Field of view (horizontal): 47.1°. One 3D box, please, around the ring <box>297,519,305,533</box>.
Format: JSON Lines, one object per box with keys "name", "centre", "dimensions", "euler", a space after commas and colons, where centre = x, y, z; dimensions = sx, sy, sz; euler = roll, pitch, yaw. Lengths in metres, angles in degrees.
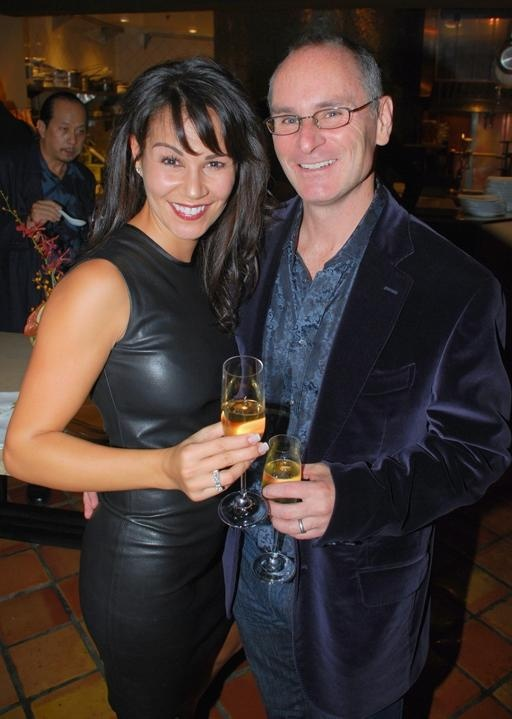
{"name": "ring", "centre": [0.097, 0.361, 1.282], "dimensions": [0.009, 0.026, 0.021], "euler": [-5, 61, 4]}
